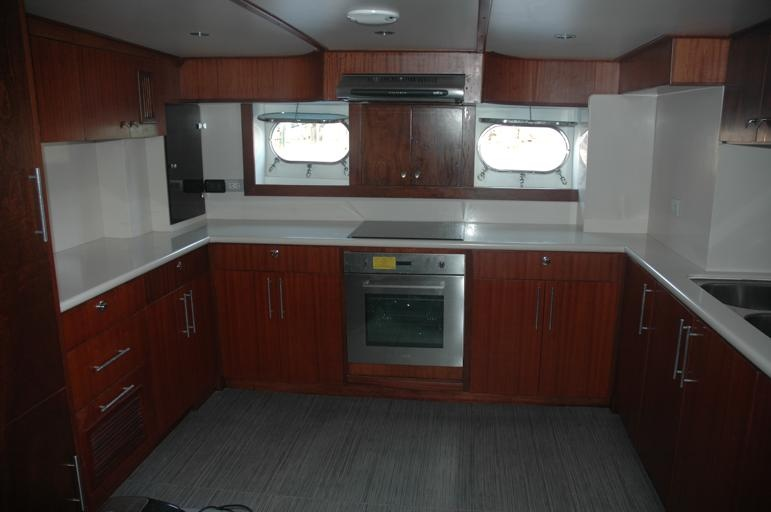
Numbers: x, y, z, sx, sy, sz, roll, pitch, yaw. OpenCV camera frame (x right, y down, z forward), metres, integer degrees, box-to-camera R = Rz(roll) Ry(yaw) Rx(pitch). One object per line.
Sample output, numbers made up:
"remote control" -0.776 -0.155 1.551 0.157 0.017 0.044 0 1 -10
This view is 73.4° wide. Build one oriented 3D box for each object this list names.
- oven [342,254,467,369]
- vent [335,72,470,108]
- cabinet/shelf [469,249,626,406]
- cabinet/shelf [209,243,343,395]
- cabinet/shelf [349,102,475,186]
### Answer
"oven" 0.150 0.320 3.860 0.845 0.846 0.572 1 17 4
"vent" 0.104 -1.181 3.606 0.871 0.181 0.267 4 14 13
"cabinet/shelf" 1.140 0.443 3.542 0.971 1.012 0.479 1 10 7
"cabinet/shelf" -0.774 0.403 3.705 0.956 1.156 0.583 1 13 3
"cabinet/shelf" 0.222 -0.870 4.262 0.983 0.665 0.536 1 5 3
